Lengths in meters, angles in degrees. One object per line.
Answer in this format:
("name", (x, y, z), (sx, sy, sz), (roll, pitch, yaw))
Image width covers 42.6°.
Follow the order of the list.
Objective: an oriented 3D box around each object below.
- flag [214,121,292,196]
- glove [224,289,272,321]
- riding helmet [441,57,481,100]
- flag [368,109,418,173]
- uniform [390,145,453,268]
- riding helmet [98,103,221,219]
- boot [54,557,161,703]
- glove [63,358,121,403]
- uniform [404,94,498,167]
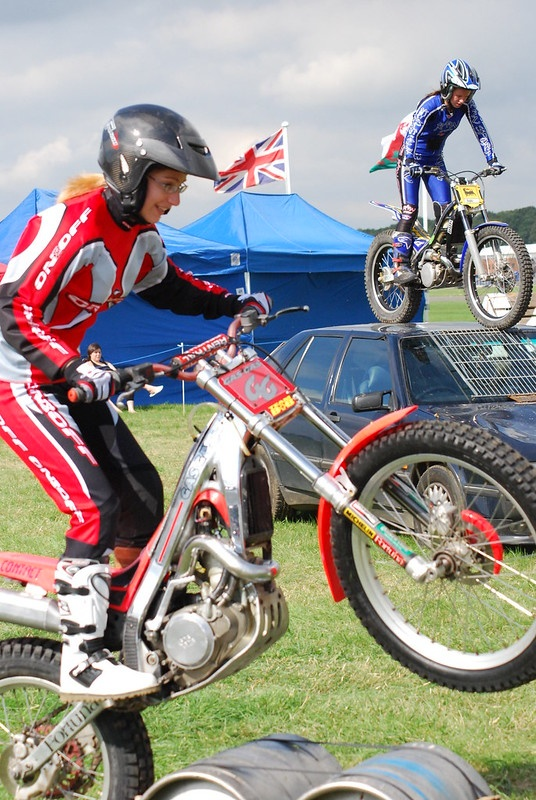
("flag", (-0.459, -6.183, 18.090), (2.045, 2.118, 0.177), (-6, 54, 0))
("glove", (-0.069, -0.352, 2.558), (0.141, 0.056, 0.111), (3, 12, 15))
("riding helmet", (1.702, -2.874, 6.125), (0.315, 0.259, 0.273), (2, 1, 11))
("flag", (2.050, -3.980, 10.635), (0.252, 0.539, 0.795), (-3, 9, -9))
("uniform", (1.512, -1.928, 6.610), (0.507, 1.287, 0.420), (0, 2, 11))
("riding helmet", (-0.375, -0.769, 2.204), (0.403, 0.361, 0.182), (2, 1, 15))
("boot", (-0.478, 0.677, 2.062), (0.333, 0.388, 0.130), (-8, -12, 18))
("glove", (-0.506, -0.072, 1.938), (0.119, 0.061, 0.146), (-6, 25, -37))
("uniform", (1.689, -2.513, 6.472), (0.545, 0.693, 0.705), (1, 2, -27))
